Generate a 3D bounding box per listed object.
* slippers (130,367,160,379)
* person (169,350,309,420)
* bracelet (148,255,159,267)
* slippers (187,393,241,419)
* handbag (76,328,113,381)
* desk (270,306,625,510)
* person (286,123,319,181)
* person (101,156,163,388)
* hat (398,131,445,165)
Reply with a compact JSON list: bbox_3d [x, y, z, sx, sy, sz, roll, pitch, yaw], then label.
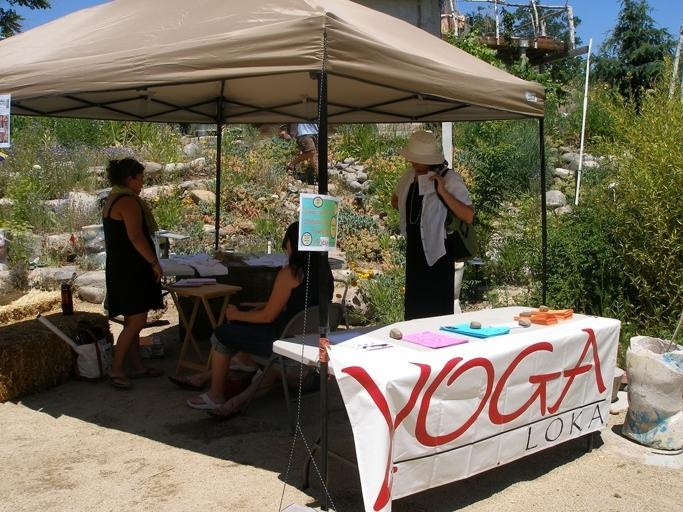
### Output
[{"bbox_3d":[-2.146,1.277,6.547,0.313,0.125,0.126,-3,11,-15],"label":"slippers"},{"bbox_3d":[-1.086,1.295,5.774,0.693,0.438,1.057,-3,9,-2],"label":"person"},{"bbox_3d":[-1.955,0.057,6.202,0.078,0.081,0.081,-2,16,-6],"label":"bracelet"},{"bbox_3d":[-1.234,1.423,5.636,0.520,0.168,0.208,15,11,2],"label":"slippers"},{"bbox_3d":[-2.691,1.081,6.452,0.293,0.577,0.517,0,3,3],"label":"handbag"},{"bbox_3d":[0.996,1.088,4.634,2.395,1.069,0.807,-8,17,-30],"label":"desk"},{"bbox_3d":[-0.873,-2.340,13.290,0.618,1.275,2.294,-1,15,-5],"label":"person"},{"bbox_3d":[-2.218,0.188,6.295,0.660,2.370,0.558,-9,17,-33],"label":"person"},{"bbox_3d":[0.820,-1.003,5.721,0.337,0.166,0.347,-2,27,-14],"label":"hat"}]
